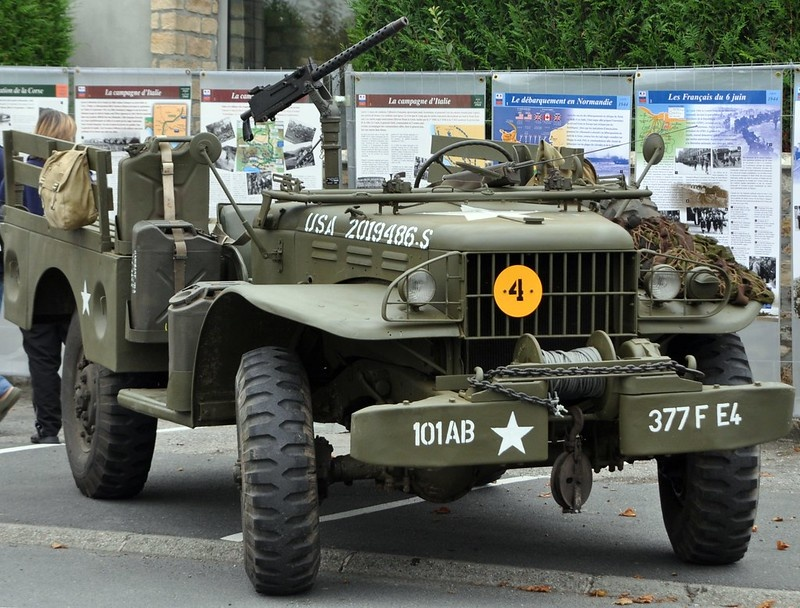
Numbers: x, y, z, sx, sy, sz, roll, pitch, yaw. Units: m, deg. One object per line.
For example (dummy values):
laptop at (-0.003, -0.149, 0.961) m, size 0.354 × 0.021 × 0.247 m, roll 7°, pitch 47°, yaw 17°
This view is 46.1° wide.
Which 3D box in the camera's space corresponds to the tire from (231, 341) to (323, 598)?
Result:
tire at (-0.654, 0.904, 5.024) m, size 0.366 × 1.363 × 1.273 m, roll -2°, pitch 8°, yaw -10°

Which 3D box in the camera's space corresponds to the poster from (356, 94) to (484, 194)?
poster at (0.177, -1.374, 7.793) m, size 1.133 × 0.936 × 0.026 m, roll 1°, pitch 3°, yaw 6°

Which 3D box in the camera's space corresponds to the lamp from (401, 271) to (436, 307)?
lamp at (0.076, -0.070, 4.427) m, size 0.130 × 0.153 × 0.058 m, roll 12°, pitch -4°, yaw -32°

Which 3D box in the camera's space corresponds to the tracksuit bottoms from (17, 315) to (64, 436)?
tracksuit bottoms at (-2.996, 0.710, 7.922) m, size 0.205 × 0.949 × 0.327 m, roll -10°, pitch -30°, yaw 2°

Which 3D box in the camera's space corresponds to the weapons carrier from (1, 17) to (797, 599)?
weapons carrier at (-0.353, 0.087, 6.038) m, size 2.821 × 3.066 × 4.718 m, roll -1°, pitch 2°, yaw -31°

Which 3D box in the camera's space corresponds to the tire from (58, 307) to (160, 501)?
tire at (-1.949, 0.679, 6.314) m, size 0.397 × 1.453 × 1.179 m, roll 5°, pitch -2°, yaw -25°

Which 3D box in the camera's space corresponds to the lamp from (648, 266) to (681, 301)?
lamp at (1.383, -0.103, 4.950) m, size 0.163 × 0.184 × 0.060 m, roll 0°, pitch 0°, yaw -23°
